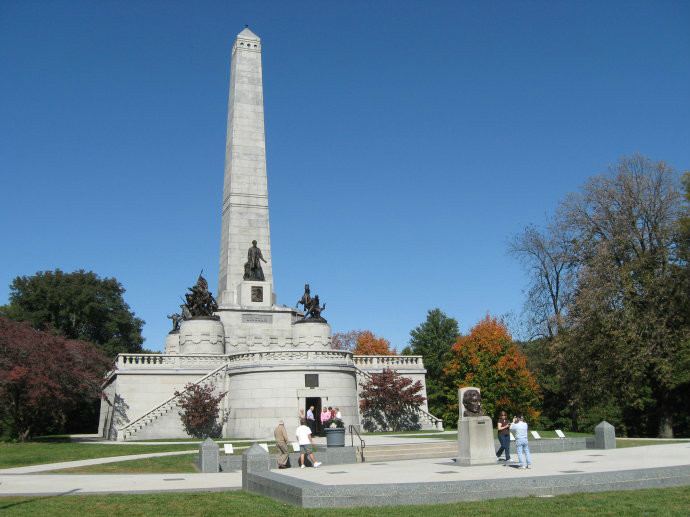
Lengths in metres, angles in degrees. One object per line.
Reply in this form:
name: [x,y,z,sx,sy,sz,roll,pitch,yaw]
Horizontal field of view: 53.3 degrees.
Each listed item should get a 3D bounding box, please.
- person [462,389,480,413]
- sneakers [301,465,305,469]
person: [4.910,5.550,26.660,0.630,0.968,0.767,-3,-15,5]
sneakers: [-1.657,8.162,26.929,0.212,0.188,0.105,4,-27,-12]
